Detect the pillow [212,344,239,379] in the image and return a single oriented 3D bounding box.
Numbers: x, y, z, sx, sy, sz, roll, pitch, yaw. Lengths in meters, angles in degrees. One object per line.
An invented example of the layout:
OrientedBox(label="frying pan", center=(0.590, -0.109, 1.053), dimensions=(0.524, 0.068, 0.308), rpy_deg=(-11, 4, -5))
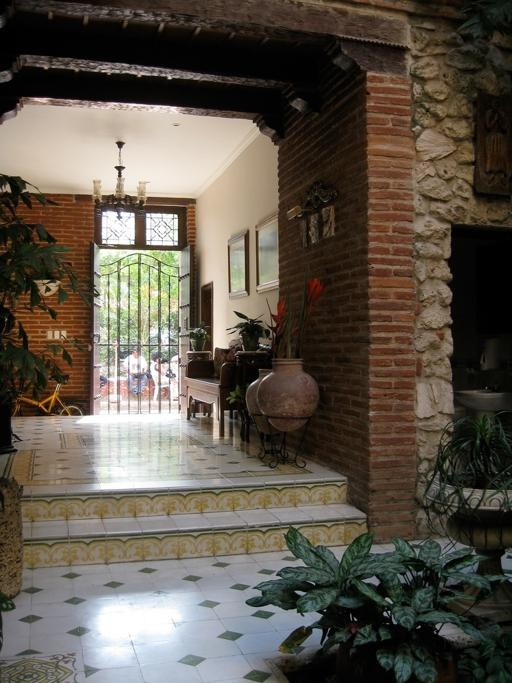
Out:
OrientedBox(label="pillow", center=(-0.441, 0.229, 6.817), dimensions=(0.129, 0.384, 0.406), rpy_deg=(19, -14, -39))

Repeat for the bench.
OrientedBox(label="bench", center=(-0.447, 0.608, 6.765), dimensions=(0.487, 0.736, 1.405), rpy_deg=(0, 0, -22))

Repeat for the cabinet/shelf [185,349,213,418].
OrientedBox(label="cabinet/shelf", center=(-0.738, 0.568, 7.537), dimensions=(0.450, 0.619, 1.062), rpy_deg=(2, 0, -9))

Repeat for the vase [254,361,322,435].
OrientedBox(label="vase", center=(0.228, 0.380, 4.096), dimensions=(0.327, 0.507, 0.348), rpy_deg=(-2, 2, -36))

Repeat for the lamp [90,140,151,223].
OrientedBox(label="lamp", center=(-1.891, -2.334, 8.037), dimensions=(0.805, 0.981, 0.769), rpy_deg=(8, 9, 31))

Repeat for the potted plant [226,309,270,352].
OrientedBox(label="potted plant", center=(-0.073, -0.111, 5.989), dimensions=(0.526, 0.372, 0.482), rpy_deg=(-1, 2, -1))

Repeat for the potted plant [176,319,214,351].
OrientedBox(label="potted plant", center=(-0.896, -0.099, 8.463), dimensions=(0.534, 0.325, 0.499), rpy_deg=(0, 0, 14))
